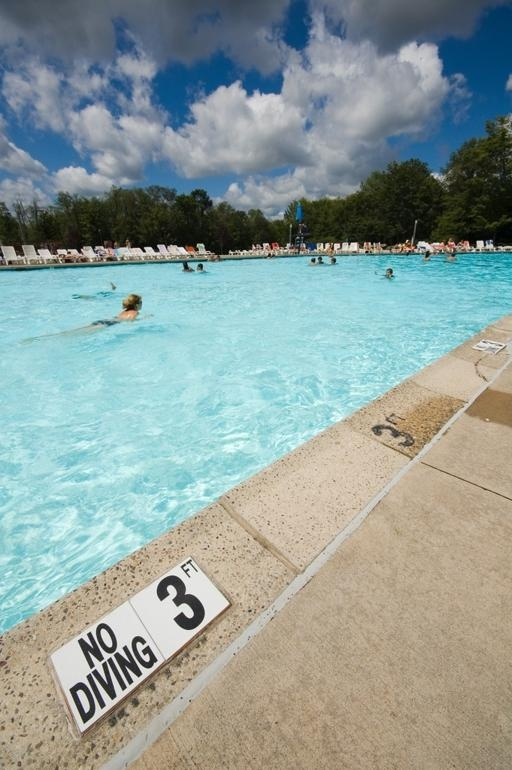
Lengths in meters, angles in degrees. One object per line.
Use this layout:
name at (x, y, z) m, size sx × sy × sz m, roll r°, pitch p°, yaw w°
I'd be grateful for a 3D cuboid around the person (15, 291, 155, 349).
person at (-3.404, -1.313, 9.081) m, size 2.858 × 0.865 × 0.937 m, roll -27°, pitch 49°, yaw -36°

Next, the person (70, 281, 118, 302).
person at (-5.855, -3.369, 15.252) m, size 1.536 × 0.445 × 1.511 m, roll 16°, pitch 31°, yaw 40°
